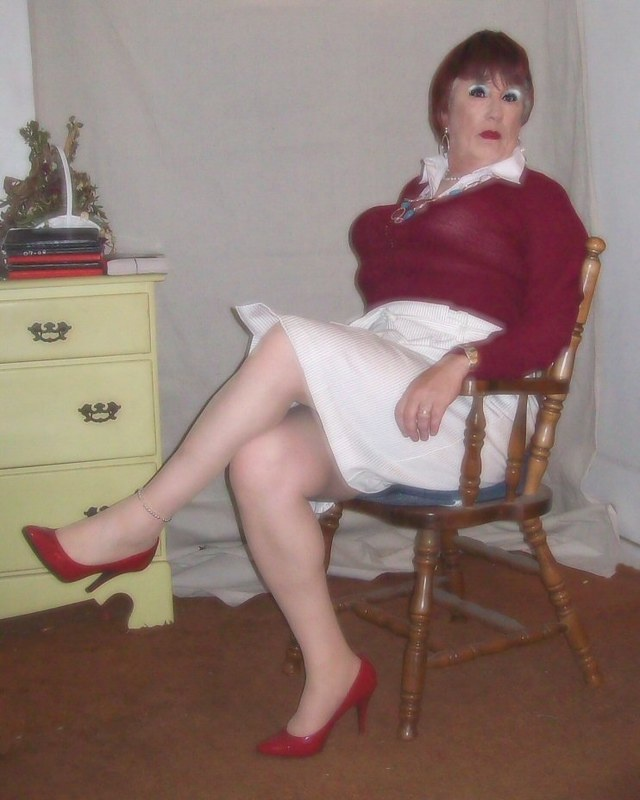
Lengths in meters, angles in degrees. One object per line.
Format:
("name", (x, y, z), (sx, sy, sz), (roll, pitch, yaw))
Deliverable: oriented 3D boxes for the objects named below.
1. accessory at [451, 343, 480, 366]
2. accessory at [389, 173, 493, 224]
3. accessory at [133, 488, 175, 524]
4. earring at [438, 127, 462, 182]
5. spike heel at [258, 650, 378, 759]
("accessory", (0.271, -0.084, 1.413), (0.039, 0.018, 0.044), (0, 34, -1))
("accessory", (0.266, -0.435, 1.672), (0.204, 0.040, 0.116), (-27, 9, -36))
("accessory", (-0.308, 0.198, 1.420), (0.061, 0.069, 0.017), (19, 65, 36))
("earring", (0.301, -0.558, 1.778), (0.051, 0.107, 0.088), (11, 21, 12))
("spike heel", (-0.037, 0.582, 1.506), (0.344, 0.165, 0.108), (-4, 5, -6))
